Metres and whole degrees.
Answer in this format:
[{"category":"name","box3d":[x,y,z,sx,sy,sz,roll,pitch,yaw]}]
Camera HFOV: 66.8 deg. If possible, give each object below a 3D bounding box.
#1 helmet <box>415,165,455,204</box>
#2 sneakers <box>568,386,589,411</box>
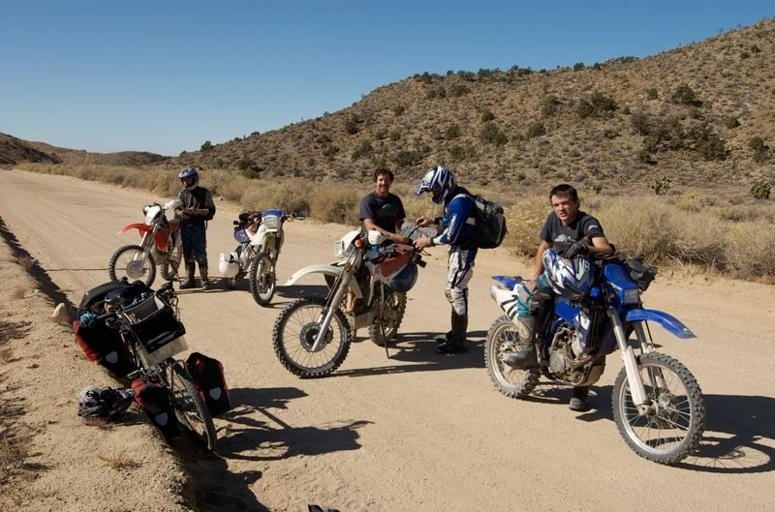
[{"category":"helmet","box3d":[0.676,-1.109,8.640,0.605,0.527,0.457,23,6,-13]},{"category":"sneakers","box3d":[2.485,1.856,7.627,0.155,0.432,0.167,-2,47,12]}]
